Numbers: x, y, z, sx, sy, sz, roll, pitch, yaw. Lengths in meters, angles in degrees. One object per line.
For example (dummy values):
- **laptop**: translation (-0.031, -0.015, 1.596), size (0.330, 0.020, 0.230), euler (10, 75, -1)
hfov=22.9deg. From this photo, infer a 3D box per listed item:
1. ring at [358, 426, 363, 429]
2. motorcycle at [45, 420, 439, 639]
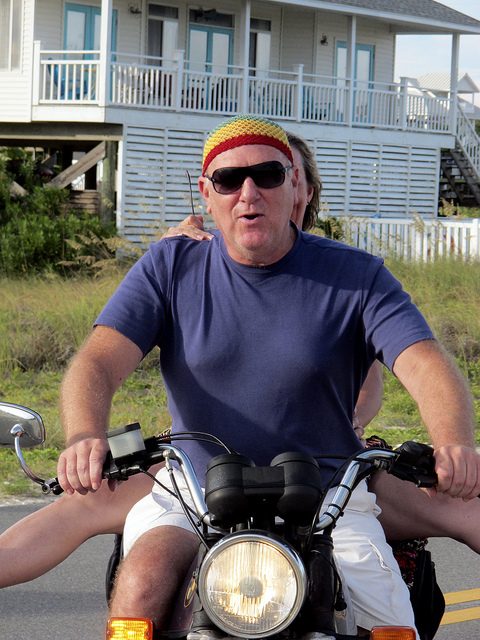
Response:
- **ring**: translation (0.445, 0.400, 4.389), size (0.010, 0.010, 0.031), euler (5, -9, 35)
- **motorcycle**: translation (0.037, 0.579, 3.302), size (0.695, 0.649, 0.950), euler (-1, -8, 2)
